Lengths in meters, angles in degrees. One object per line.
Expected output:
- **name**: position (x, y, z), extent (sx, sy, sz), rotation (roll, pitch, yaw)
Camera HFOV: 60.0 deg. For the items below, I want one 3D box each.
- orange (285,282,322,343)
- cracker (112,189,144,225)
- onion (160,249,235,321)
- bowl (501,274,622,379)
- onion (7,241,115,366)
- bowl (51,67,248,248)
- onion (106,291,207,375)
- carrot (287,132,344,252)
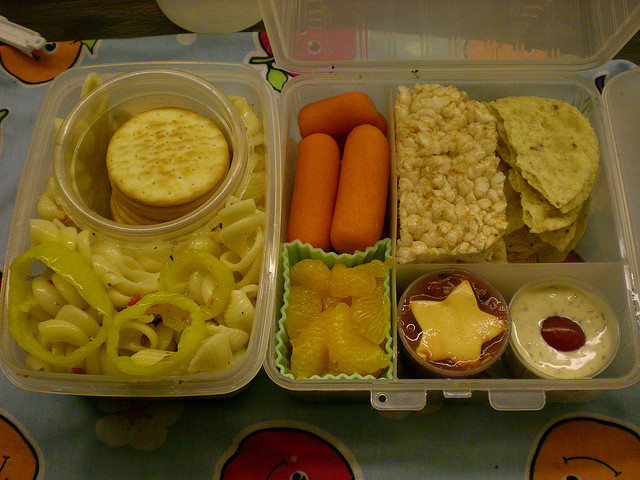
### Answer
- **orange**: position (-0.050, 0.220, 1.675), extent (0.107, 0.081, 0.148), rotation (7, 69, 5)
- **cracker**: position (-0.590, -0.087, 1.694), extent (0.098, 0.021, 0.103), rotation (-3, 62, -32)
- **onion**: position (-0.338, 0.104, 1.621), extent (0.184, 0.083, 0.210), rotation (-32, 83, 18)
- **bowl**: position (0.747, 0.276, 1.872), extent (0.315, 0.349, 0.342), rotation (-1, 78, 4)
- **onion**: position (-0.737, 0.178, 1.549), extent (0.270, 0.148, 0.354), rotation (-39, 67, -17)
- **bowl**: position (-0.514, -0.262, 1.700), extent (0.569, 0.212, 0.601), rotation (0, 72, -1)
- **onion**: position (-0.459, 0.253, 1.537), extent (0.264, 0.213, 0.167), rotation (-5, 21, -27)
- **carrot**: position (-0.011, -0.162, 1.873), extent (0.137, 0.138, 0.425), rotation (3, 73, 6)
